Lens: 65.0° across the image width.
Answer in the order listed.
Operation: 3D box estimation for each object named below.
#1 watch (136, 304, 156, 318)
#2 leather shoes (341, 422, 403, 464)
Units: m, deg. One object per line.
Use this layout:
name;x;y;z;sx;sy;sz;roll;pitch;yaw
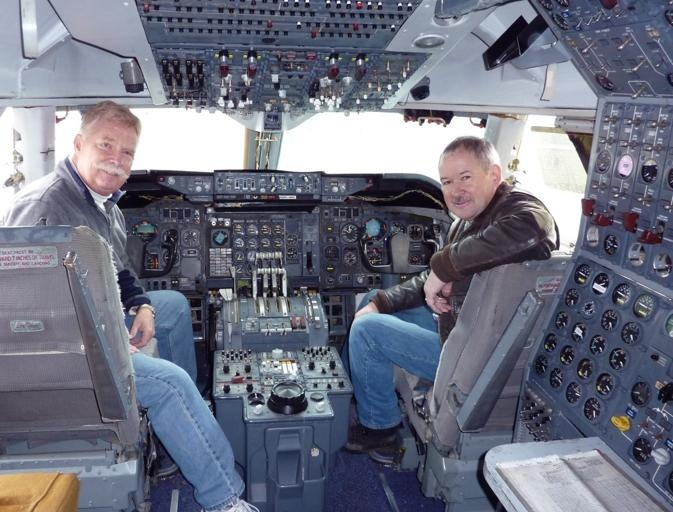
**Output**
watch;-1.061;0.306;2.946;0.075;0.043;0.069;-5;-3;27
leather shoes;0.218;1.083;3.071;0.409;0.297;0.140;10;30;-2
